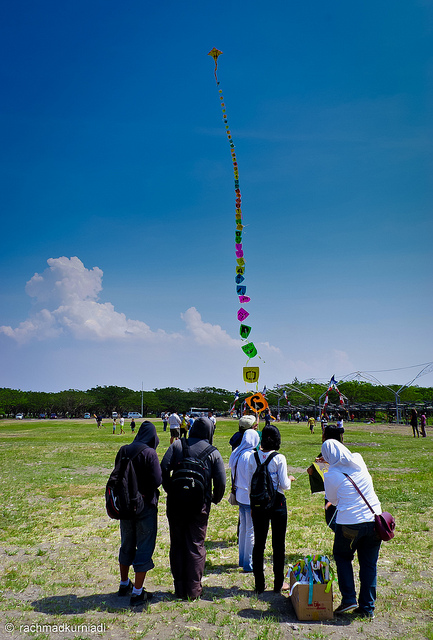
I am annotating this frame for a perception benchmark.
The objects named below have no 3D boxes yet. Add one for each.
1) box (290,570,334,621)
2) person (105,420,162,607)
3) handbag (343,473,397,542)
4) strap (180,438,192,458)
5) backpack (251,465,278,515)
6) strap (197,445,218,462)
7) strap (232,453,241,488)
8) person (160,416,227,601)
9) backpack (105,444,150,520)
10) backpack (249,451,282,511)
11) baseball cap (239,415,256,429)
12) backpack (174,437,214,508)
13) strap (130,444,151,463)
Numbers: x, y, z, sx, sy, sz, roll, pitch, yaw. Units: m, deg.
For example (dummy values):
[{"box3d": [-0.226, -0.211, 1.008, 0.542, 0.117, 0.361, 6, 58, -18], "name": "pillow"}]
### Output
[{"box3d": [1.072, 3.149, 5.890, 0.393, 0.378, 0.778, 1, -7, 0], "name": "box"}, {"box3d": [-0.975, 2.273, 5.947, 0.619, 2.094, 0.719, 2, -9, -8], "name": "person"}, {"box3d": [1.634, 2.128, 5.596, 0.272, 0.779, 0.457, -37, -26, 20], "name": "handbag"}, {"box3d": [-0.373, 1.568, 6.161, 0.164, 0.267, 0.150, -2, -13, -4], "name": "strap"}, {"box3d": [0.583, 2.093, 6.114, 0.379, 0.621, 0.323, -11, -30, 20], "name": "backpack"}, {"box3d": [-0.112, 1.640, 6.182, 0.152, 0.164, 0.163, 34, -8, -10], "name": "strap"}, {"box3d": [0.274, 2.146, 6.978, 0.049, 0.368, 0.045, 14, -3, 19], "name": "strap"}, {"box3d": [-0.332, 2.308, 6.216, 0.793, 2.210, 0.742, 8, 10, 18], "name": "person"}, {"box3d": [-1.029, 1.904, 5.881, 0.455, 0.856, 0.485, 3, -24, -7], "name": "backpack"}, {"box3d": [0.596, 2.001, 6.243, 0.360, 0.682, 0.398, 0, -9, 5], "name": "backpack"}, {"box3d": [0.465, 1.604, 7.848, 0.225, 0.202, 0.278, -2, -9, 17], "name": "baseball cap"}, {"box3d": [-0.240, 1.896, 6.001, 0.507, 0.817, 0.458, 4, 4, 4], "name": "backpack"}, {"box3d": [-0.896, 1.571, 5.946, 0.261, 0.142, 0.197, 17, -13, -26], "name": "strap"}]
